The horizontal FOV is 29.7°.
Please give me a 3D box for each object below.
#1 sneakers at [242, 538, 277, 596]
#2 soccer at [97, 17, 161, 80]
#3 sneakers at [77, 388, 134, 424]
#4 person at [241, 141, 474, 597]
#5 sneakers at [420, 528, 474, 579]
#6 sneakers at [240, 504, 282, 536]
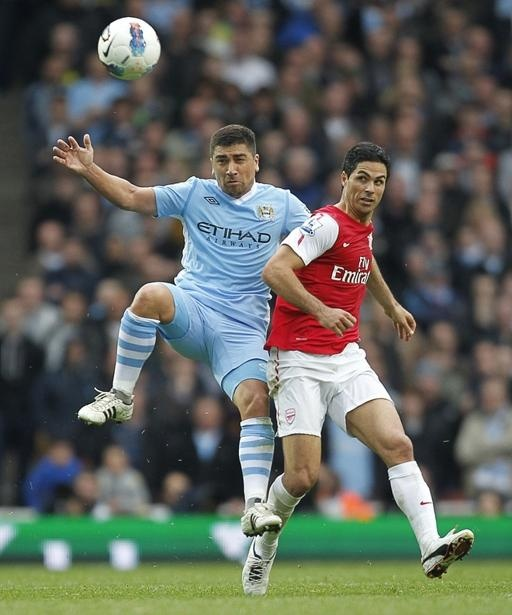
[{"bbox_3d":[0.027,1.465,5.445,0.127,0.298,0.137,9,-9,-24],"label":"sneakers"},{"bbox_3d":[-0.802,-1.650,6.233,0.488,0.404,0.409,-1,-12,-3],"label":"soccer"},{"bbox_3d":[-0.888,0.583,5.708,0.159,0.176,0.398,33,19,35],"label":"sneakers"},{"bbox_3d":[0.521,0.412,5.295,1.124,2.583,1.578,5,15,-6],"label":"person"},{"bbox_3d":[0.946,1.224,4.830,0.217,0.346,0.231,9,15,10],"label":"sneakers"},{"bbox_3d":[0.024,1.120,5.083,0.109,0.135,0.279,-5,-18,-37],"label":"sneakers"}]
